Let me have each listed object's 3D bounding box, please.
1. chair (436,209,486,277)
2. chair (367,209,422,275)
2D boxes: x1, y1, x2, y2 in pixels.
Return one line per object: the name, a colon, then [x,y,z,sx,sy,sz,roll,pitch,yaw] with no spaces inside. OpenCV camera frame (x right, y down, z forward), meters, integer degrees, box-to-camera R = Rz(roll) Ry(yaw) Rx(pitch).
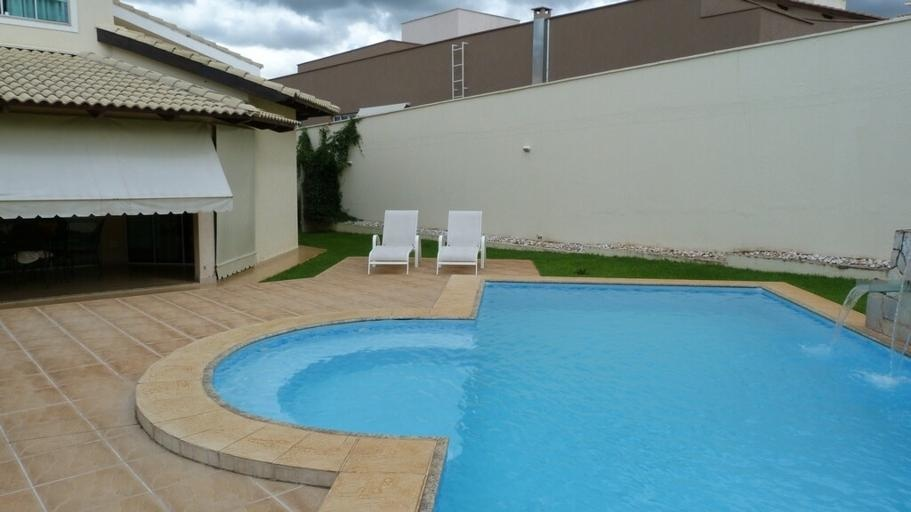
chair: [0.183,-0.546,21.062,1.663,2.203,2.735,2,7,0]
chair: [-2.290,-0.561,21.104,1.823,2.241,2.646,1,7,-6]
